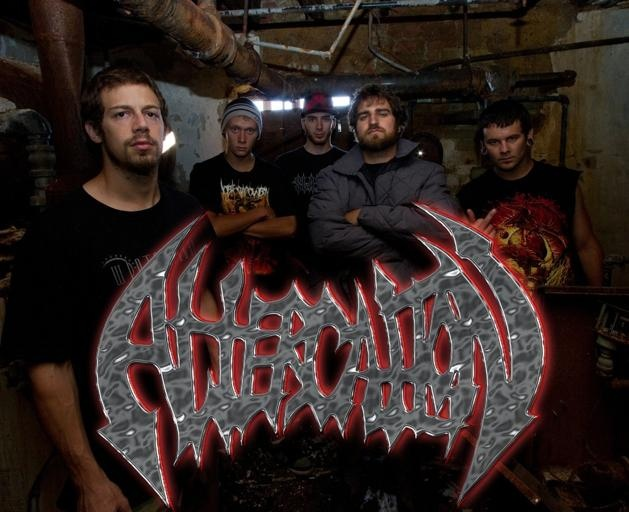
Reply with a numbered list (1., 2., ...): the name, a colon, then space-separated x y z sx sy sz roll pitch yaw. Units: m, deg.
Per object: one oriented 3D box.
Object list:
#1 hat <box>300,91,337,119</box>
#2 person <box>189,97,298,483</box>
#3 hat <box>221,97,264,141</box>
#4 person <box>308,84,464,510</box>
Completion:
1. hat: 0.031 -1.649 6.787 0.242 0.183 0.334 0 -2 -1
2. person: -0.685 -0.287 6.118 0.955 2.447 0.717 -14 34 -24
3. hat: -0.721 -1.388 6.120 0.388 0.374 0.379 0 2 -24
4. person: 0.544 0.251 4.963 1.147 3.162 1.133 -3 11 -1
